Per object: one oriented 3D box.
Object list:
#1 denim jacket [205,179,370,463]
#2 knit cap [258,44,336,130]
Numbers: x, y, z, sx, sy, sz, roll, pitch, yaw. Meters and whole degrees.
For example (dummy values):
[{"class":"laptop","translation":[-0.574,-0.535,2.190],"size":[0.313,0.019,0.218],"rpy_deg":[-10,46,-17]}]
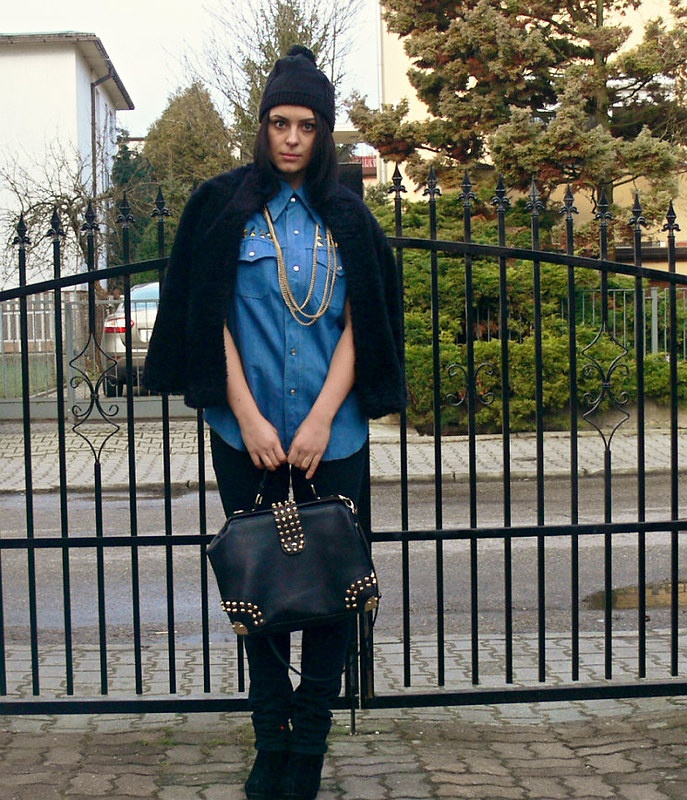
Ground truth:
[{"class":"denim jacket","translation":[-0.270,-0.405,8.489],"size":[0.738,1.240,0.968],"rpy_deg":[2,16,-6]},{"class":"knit cap","translation":[-0.212,-1.553,8.504],"size":[0.346,0.379,0.433],"rpy_deg":[1,-8,-1]}]
